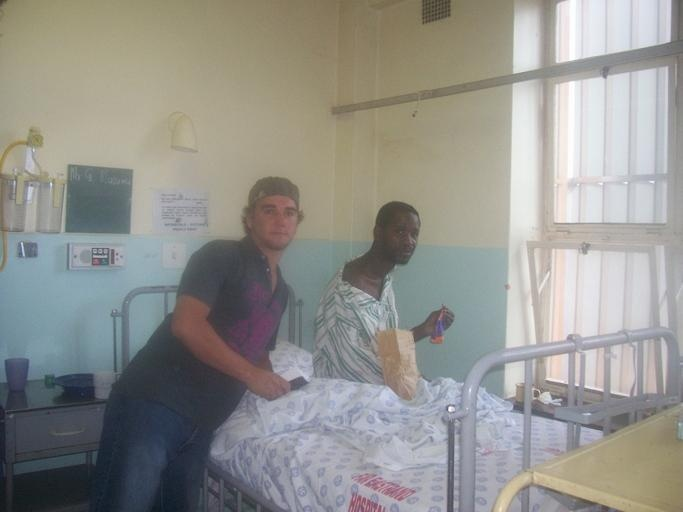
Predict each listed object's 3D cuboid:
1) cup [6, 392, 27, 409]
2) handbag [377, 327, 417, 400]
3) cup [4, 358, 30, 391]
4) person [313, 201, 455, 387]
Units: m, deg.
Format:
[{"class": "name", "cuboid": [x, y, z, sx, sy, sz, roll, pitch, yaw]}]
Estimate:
[{"class": "cup", "cuboid": [-1.503, 0.665, 2.516, 0.065, 0.076, 0.068, 1, -3, 0]}, {"class": "handbag", "cuboid": [0.297, 0.562, 2.816, 0.172, 0.341, 0.084, -12, -23, 22]}, {"class": "cup", "cuboid": [-1.563, 0.560, 2.617, 0.125, 0.163, 0.133, 1, -4, 0]}, {"class": "person", "cuboid": [0.236, 0.325, 3.144, 0.675, 1.186, 0.633, 7, 4, 43]}]
